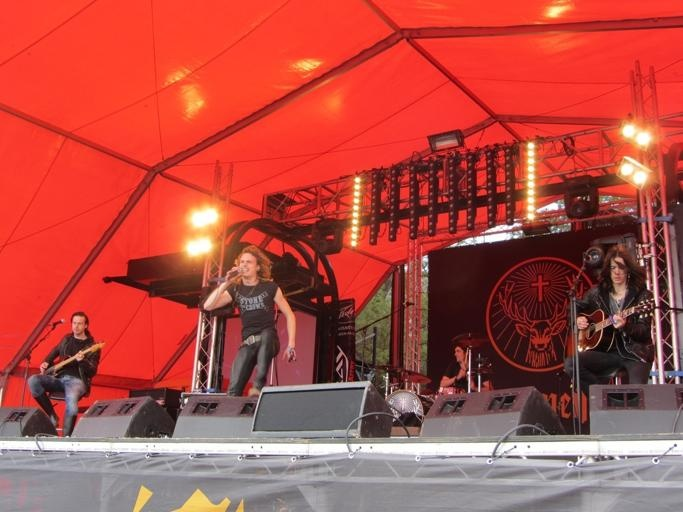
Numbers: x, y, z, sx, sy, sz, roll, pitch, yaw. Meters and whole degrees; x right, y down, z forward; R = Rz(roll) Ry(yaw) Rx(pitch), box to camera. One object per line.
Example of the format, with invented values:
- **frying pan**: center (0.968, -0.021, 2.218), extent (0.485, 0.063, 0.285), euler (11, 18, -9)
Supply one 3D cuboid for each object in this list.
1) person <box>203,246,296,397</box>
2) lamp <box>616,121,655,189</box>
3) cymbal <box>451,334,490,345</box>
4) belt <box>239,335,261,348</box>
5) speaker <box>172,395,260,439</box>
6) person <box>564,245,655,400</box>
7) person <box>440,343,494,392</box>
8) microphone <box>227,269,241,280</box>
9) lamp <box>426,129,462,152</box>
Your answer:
- **person**: center (-0.878, 0.637, 9.777), extent (0.786, 1.684, 0.599), euler (0, -16, 4)
- **lamp**: center (3.807, -1.315, 12.153), extent (0.600, 0.930, 0.365), euler (8, -17, -25)
- **cymbal**: center (1.941, 1.280, 14.315), extent (0.448, 0.212, 0.474), euler (2, -15, -6)
- **belt**: center (-0.939, 0.905, 9.668), extent (0.136, 0.049, 0.143), euler (-14, -21, -28)
- **speaker**: center (-1.185, 1.480, 8.708), extent (0.765, 0.412, 0.194), euler (-4, -16, 14)
- **person**: center (2.727, 0.623, 9.409), extent (0.744, 1.362, 0.517), euler (-7, -17, 26)
- **person**: center (1.941, 1.737, 14.480), extent (0.752, 0.775, 0.818), euler (11, -10, -35)
- **microphone**: center (-1.154, 0.202, 9.836), extent (0.075, 0.047, 0.208), euler (3, 29, 38)
- **lamp**: center (1.579, -1.713, 14.058), extent (0.578, 0.329, 0.290), euler (-8, -23, 20)
